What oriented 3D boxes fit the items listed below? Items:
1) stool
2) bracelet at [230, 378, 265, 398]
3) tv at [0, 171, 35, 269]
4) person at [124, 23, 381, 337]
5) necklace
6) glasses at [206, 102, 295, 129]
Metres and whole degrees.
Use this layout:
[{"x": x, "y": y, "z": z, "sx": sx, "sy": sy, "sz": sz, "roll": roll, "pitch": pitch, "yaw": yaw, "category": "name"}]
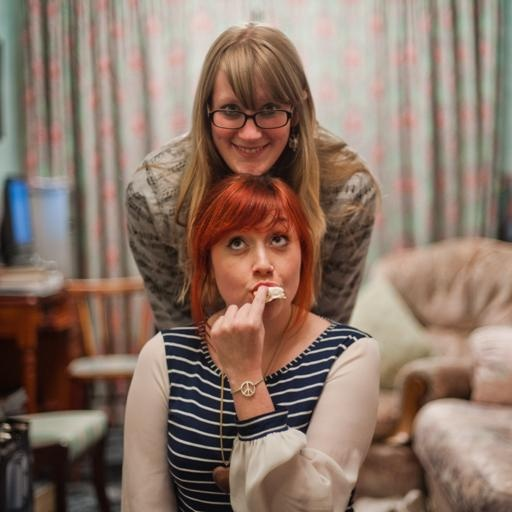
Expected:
[{"x": -0.553, "y": 0.581, "z": 1.846, "sx": 0.323, "sy": 0.327, "sz": 0.256, "roll": -2, "pitch": -8, "yaw": 16, "category": "stool"}, {"x": -0.018, "y": 0.283, "z": 1.334, "sx": 0.068, "sy": 0.036, "sz": 0.027, "roll": -2, "pitch": 4, "yaw": -5, "category": "bracelet"}, {"x": -0.741, "y": -0.111, "z": 1.912, "sx": 0.091, "sy": 0.271, "sz": 0.041, "roll": -2, "pitch": 5, "yaw": -10, "category": "tv"}, {"x": -0.012, "y": -0.049, "z": 2.158, "sx": 0.800, "sy": 1.561, "sz": 0.313, "roll": 0, "pitch": 43, "yaw": 1, "category": "person"}, {"x": -0.004, "y": 0.338, "z": 1.472, "sx": 0.120, "sy": 0.458, "sz": 0.077, "roll": 5, "pitch": -2, "yaw": 36, "category": "necklace"}, {"x": -0.019, "y": -0.384, "z": 1.733, "sx": 0.228, "sy": 0.067, "sz": 0.055, "roll": -1, "pitch": 4, "yaw": -1, "category": "glasses"}]
